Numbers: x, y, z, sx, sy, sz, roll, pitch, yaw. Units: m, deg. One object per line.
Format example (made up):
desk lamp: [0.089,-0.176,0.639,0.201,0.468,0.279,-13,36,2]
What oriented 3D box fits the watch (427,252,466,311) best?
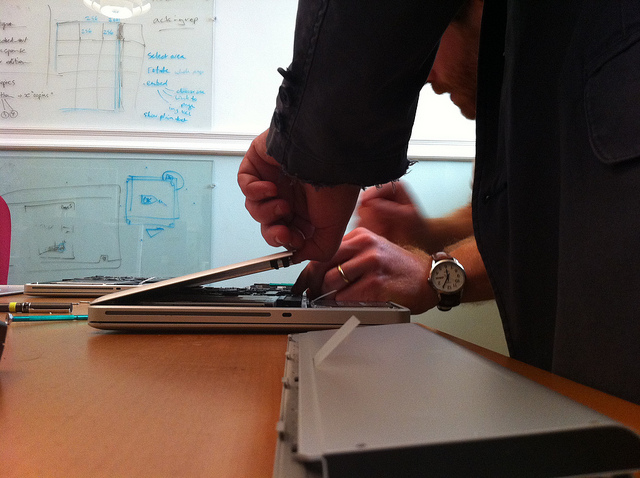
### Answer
watch: [0.252,0.085,0.993,0.067,0.120,0.109,-8,-12,4]
